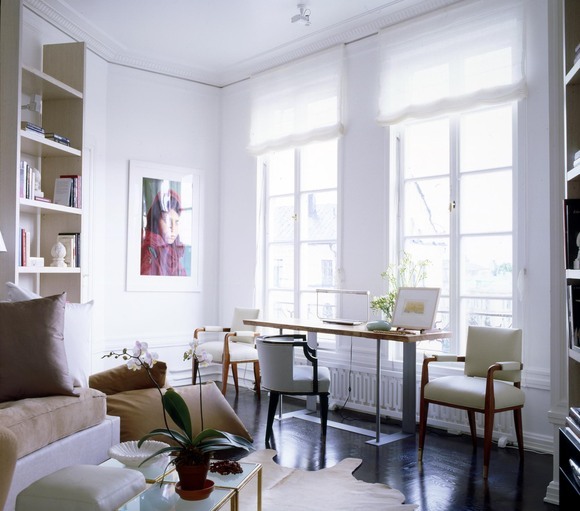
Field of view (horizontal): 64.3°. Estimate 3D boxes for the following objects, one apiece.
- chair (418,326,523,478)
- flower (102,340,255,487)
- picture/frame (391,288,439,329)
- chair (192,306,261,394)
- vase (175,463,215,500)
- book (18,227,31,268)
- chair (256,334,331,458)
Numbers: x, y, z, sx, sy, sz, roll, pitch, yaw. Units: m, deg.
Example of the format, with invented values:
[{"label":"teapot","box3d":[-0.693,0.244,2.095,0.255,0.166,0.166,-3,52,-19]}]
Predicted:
[{"label":"chair","box3d":[1.418,1.163,3.570,0.659,1.329,0.728,8,-9,-39]},{"label":"flower","box3d":[-0.448,0.654,1.915,0.461,0.649,0.513,-7,-13,-8]},{"label":"picture/frame","box3d":[1.062,0.445,3.905,0.334,0.356,0.049,-5,-30,45]},{"label":"chair","box3d":[-0.757,1.157,5.440,0.729,1.106,0.783,1,-6,3]},{"label":"vase","box3d":[-0.380,0.884,1.816,0.143,0.137,0.154,12,-35,-24]},{"label":"book","box3d":[-2.164,-0.060,3.760,0.068,0.308,0.273,2,-3,-29]},{"label":"chair","box3d":[0.042,1.102,4.165,0.622,0.968,0.726,-4,14,-17]}]
